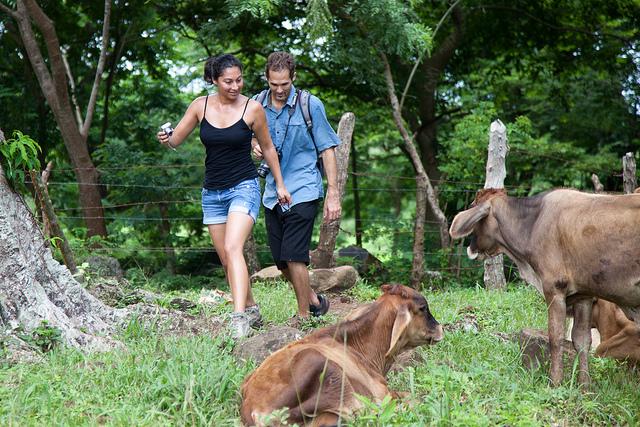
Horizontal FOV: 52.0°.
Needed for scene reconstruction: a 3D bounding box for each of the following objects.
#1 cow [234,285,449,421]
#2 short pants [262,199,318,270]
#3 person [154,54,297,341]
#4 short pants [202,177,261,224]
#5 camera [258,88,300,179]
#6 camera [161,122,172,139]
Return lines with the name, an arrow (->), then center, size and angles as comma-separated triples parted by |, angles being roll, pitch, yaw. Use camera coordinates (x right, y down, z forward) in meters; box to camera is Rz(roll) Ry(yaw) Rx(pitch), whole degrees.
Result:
cow -> 0.206, 1.351, 6.267 | 2.045, 1.005, 0.892 | 1, -5, -35
short pants -> -0.349, 0.263, 7.859 | 0.663, 0.851, 0.391 | -2, 4, 9
person -> -1.022, -0.254, 7.768 | 1.140, 3.204, 1.070 | -6, 5, -42
short pants -> -1.128, -0.186, 7.790 | 0.617, 0.488, 0.466 | -8, 11, -2
camera -> -0.475, -0.958, 7.811 | 0.193, 1.083, 0.185 | 18, 1, 34
camera -> -1.755, -0.964, 7.599 | 0.102, 0.141, 0.144 | -13, -28, -11
